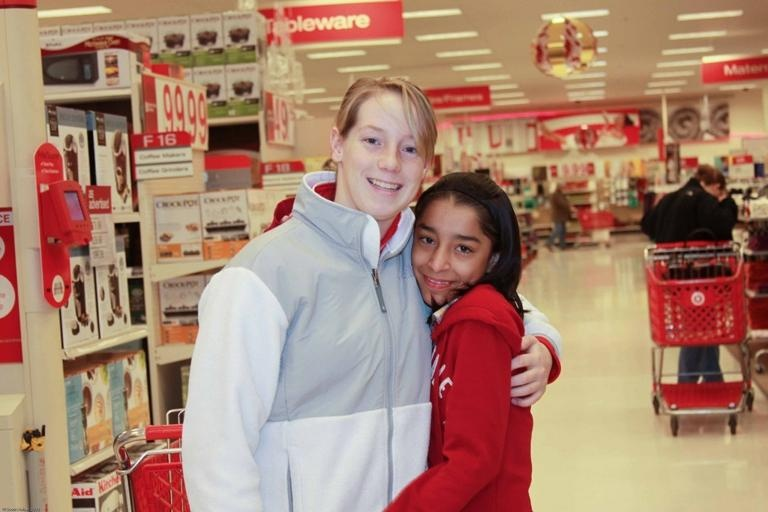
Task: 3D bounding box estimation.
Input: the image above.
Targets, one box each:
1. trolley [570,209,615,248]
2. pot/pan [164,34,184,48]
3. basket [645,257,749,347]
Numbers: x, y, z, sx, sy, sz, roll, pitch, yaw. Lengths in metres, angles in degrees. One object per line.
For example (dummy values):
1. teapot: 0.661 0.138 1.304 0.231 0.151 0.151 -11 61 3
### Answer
1. trolley: 4.282 -0.587 14.648 0.947 0.653 0.655 0 11 17
2. pot/pan: -1.734 -1.796 6.003 0.119 0.122 0.054 1 14 0
3. basket: 2.585 0.366 6.021 0.681 0.570 0.699 -1 2 10
